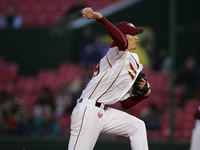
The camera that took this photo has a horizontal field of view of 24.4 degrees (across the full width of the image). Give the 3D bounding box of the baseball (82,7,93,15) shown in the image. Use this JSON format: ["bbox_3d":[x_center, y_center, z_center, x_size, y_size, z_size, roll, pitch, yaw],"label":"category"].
[{"bbox_3d":[-0.243,-1.153,8.639,0.176,0.140,0.253,-5,15,-31],"label":"baseball"}]
